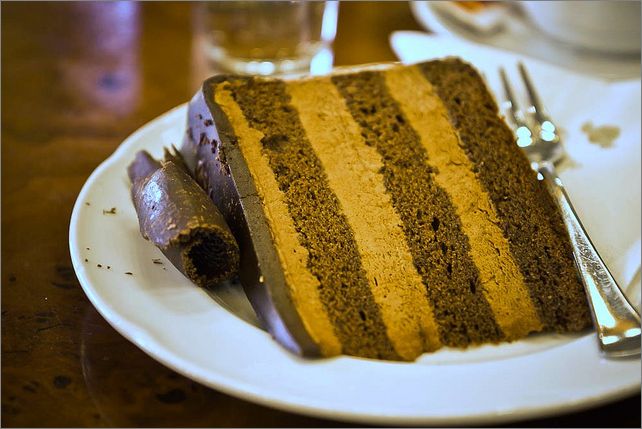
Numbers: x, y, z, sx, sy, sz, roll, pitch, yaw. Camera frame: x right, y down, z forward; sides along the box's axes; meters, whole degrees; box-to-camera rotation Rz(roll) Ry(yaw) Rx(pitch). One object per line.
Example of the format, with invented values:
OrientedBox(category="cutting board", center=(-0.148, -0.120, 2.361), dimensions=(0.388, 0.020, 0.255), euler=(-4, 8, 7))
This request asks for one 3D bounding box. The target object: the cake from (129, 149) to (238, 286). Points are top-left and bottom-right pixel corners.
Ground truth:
OrientedBox(category="cake", center=(-0.453, -0.011, 1.989), dimensions=(0.218, 0.198, 0.458), euler=(-16, 47, -33))
